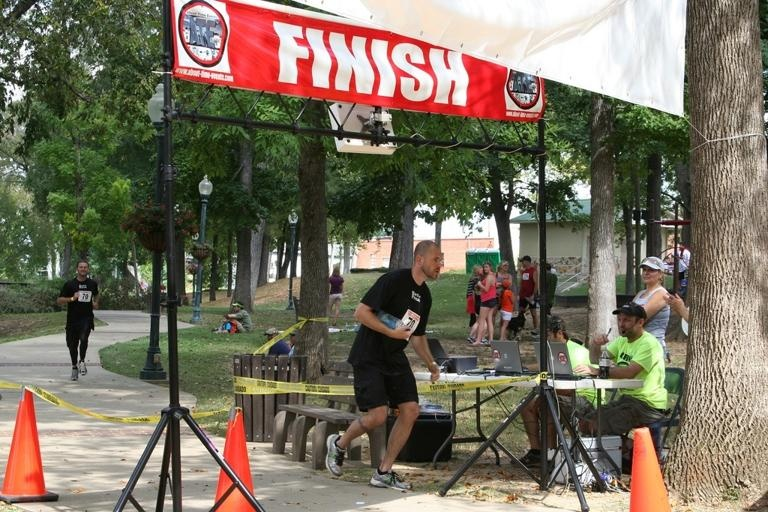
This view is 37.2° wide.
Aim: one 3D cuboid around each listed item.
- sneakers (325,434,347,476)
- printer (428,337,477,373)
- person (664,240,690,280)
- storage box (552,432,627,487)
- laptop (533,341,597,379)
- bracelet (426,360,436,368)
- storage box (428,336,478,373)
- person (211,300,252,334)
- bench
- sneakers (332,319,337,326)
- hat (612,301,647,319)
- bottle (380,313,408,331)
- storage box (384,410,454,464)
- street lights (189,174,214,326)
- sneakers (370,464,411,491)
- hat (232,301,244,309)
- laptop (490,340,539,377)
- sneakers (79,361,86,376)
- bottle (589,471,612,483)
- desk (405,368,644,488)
[{"bbox_3d":[-0.664,2.837,16.200,0.276,0.620,0.232,-13,-11,30],"label":"sneakers"},{"bbox_3d":[1.041,1.550,17.483,0.539,0.382,0.576,-5,-8,29],"label":"printer"},{"bbox_3d":[7.160,0.089,27.792,0.925,0.648,1.337,2,-13,6],"label":"person"},{"bbox_3d":[2.906,3.070,16.770,1.052,0.722,1.038,-1,-13,-10],"label":"storage box"},{"bbox_3d":[2.519,1.490,16.457,0.513,0.445,0.591,5,-4,-40],"label":"laptop"},{"bbox_3d":[0.678,1.547,16.303,0.087,0.104,0.110,6,-23,-38],"label":"bracelet"},{"bbox_3d":[1.048,1.516,17.482,0.542,0.387,0.581,-5,-8,29],"label":"storage box"},{"bbox_3d":[-4.382,1.890,32.969,1.177,1.002,0.637,6,-9,-21],"label":"person"},{"bbox_3d":[-0.871,2.375,17.392,1.083,1.477,2.147,2,-3,-26],"label":"bench"},{"bbox_3d":[-1.592,2.123,36.173,0.136,0.180,0.450,1,-14,-3],"label":"sneakers"},{"bbox_3d":[3.593,0.803,16.593,0.389,0.191,0.271,11,-11,-11],"label":"hat"},{"bbox_3d":[0.127,0.933,15.862,0.514,0.142,0.127,25,2,21],"label":"bottle"},{"bbox_3d":[0.438,2.864,17.614,0.823,0.884,1.319,-8,-11,35],"label":"storage box"},{"bbox_3d":[-6.108,-0.240,38.226,0.832,5.258,0.808,6,-10,-16],"label":"street lights"},{"bbox_3d":[0.086,3.124,15.958,0.563,0.293,0.193,0,-3,2],"label":"sneakers"},{"bbox_3d":[-4.467,1.510,34.817,0.259,0.221,0.204,-29,2,31],"label":"hat"},{"bbox_3d":[1.980,1.529,17.066,0.518,0.448,0.599,2,-2,-38],"label":"laptop"},{"bbox_3d":[-6.030,2.251,22.793,0.173,0.294,0.080,2,1,-4],"label":"sneakers"},{"bbox_3d":[3.104,3.129,16.093,0.336,0.143,0.433,0,-3,-7],"label":"bottle"},{"bbox_3d":[2.037,2.890,16.274,1.627,1.476,2.939,9,-12,-40],"label":"desk"}]
